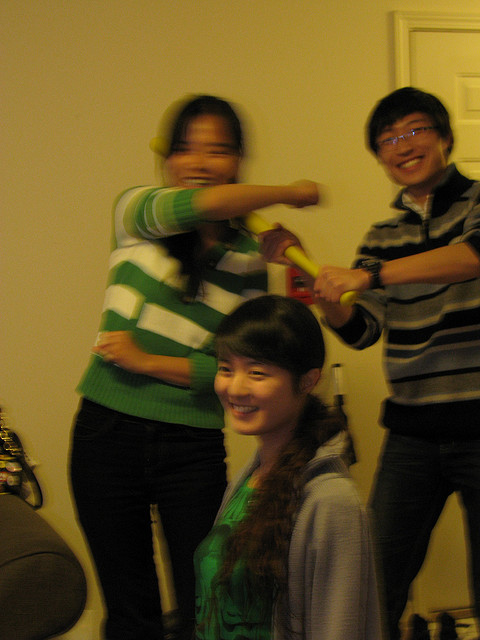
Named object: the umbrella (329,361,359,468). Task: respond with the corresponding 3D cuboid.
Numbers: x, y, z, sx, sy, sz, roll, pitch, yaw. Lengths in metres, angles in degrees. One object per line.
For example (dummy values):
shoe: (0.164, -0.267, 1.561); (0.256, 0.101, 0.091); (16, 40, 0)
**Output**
umbrella: (0.184, 0.182, 1.247); (0.037, 0.192, 0.033); (-6, -1, 37)
